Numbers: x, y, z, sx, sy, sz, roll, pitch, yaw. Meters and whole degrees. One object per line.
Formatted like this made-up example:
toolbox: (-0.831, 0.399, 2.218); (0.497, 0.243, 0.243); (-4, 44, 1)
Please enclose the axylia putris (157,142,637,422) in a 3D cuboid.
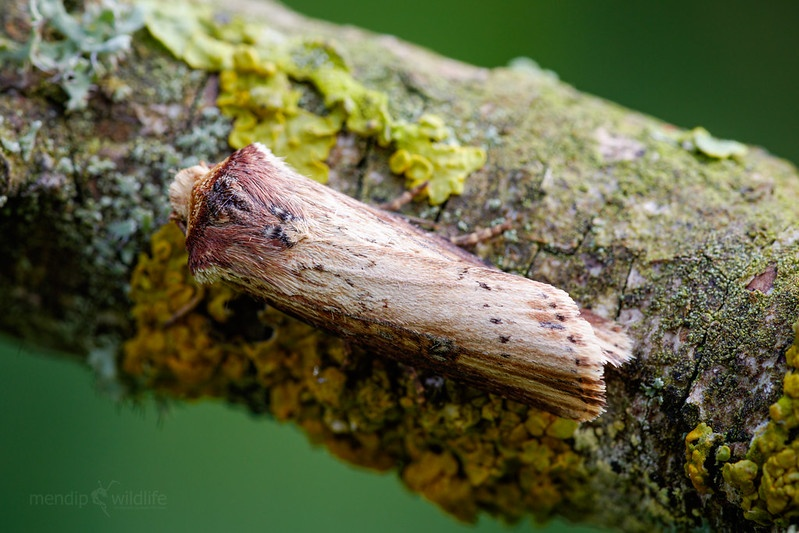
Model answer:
axylia putris: (-0.065, 0.050, 4.329); (2.259, 0.843, 0.864); (20, 1, 7)
